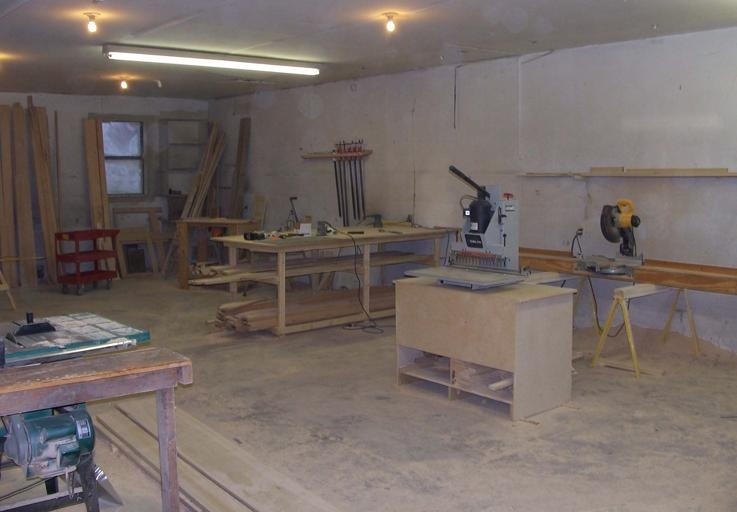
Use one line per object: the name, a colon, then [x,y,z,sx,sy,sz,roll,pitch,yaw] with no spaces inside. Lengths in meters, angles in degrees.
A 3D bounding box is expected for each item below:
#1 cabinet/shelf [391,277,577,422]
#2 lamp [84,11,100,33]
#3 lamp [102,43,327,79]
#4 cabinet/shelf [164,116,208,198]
cabinet/shelf: [1.193,0.636,5.586,2.132,1.362,1.194,6,11,44]
lamp: [-2.915,-2.468,6.009,0.142,0.203,0.141,16,25,34]
lamp: [-2.071,-2.629,7.674,2.667,0.224,0.446,-8,13,-31]
cabinet/shelf: [-3.967,-2.146,12.369,1.008,1.575,0.518,-5,14,-17]
